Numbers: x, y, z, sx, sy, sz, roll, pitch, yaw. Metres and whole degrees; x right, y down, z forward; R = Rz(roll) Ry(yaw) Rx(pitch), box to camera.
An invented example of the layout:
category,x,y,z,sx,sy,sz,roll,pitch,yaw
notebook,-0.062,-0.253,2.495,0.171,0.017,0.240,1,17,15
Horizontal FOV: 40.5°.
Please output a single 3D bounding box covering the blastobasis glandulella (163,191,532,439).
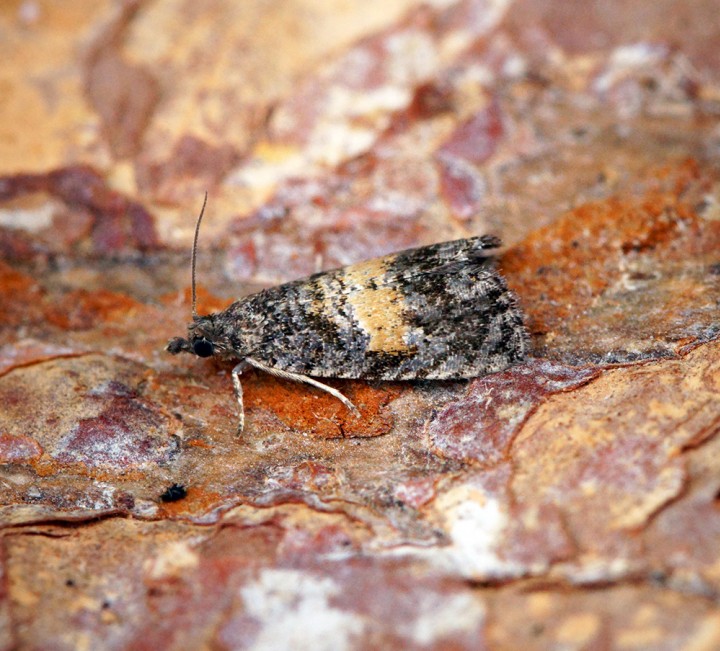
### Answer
category,x,y,z,sx,sy,sz,roll,pitch,yaw
blastobasis glandulella,0.044,0.004,4.445,1.747,0.650,0.826,-7,43,9
